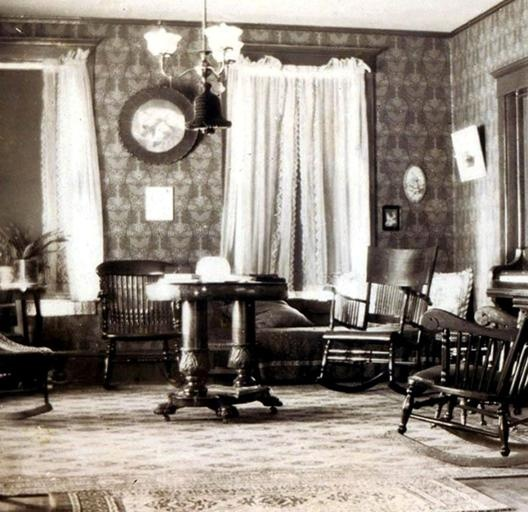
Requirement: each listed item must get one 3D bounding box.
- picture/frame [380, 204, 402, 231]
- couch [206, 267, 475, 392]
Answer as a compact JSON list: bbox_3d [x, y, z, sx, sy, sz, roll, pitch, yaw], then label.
[{"bbox_3d":[1.187,-0.363,8.600,0.222,0.323,0.032,1,-1,-16],"label":"picture/frame"},{"bbox_3d":[0.979,0.664,7.448,0.963,1.235,1.731,-3,-8,34],"label":"couch"}]
